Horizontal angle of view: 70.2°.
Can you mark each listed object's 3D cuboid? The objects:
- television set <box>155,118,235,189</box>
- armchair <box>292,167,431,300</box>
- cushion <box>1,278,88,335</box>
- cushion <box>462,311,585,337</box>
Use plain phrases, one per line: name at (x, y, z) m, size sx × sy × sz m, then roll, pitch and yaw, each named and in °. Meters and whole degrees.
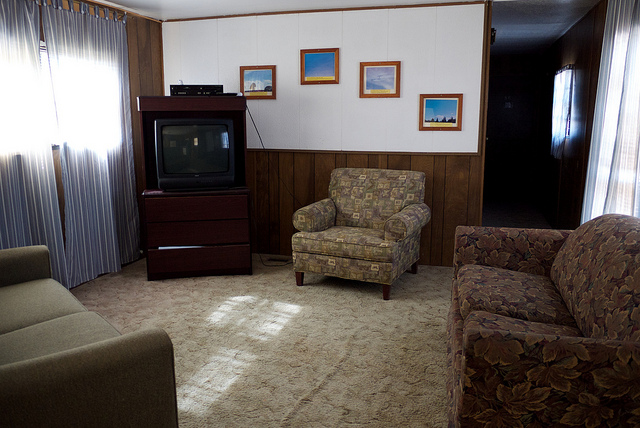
television set at (-1.319, -0.646, 4.837) m, size 0.793 × 0.714 × 0.169 m, roll -7°, pitch 13°, yaw -19°
armchair at (0.440, 0.132, 4.855) m, size 1.384 × 1.118 × 1.285 m, roll 3°, pitch 11°, yaw 16°
cushion at (-1.892, 0.606, 3.061) m, size 0.354 × 0.170 × 0.394 m, roll -9°, pitch 21°, yaw -31°
cushion at (1.185, 0.670, 2.754) m, size 0.324 × 0.098 × 0.337 m, roll 1°, pitch 0°, yaw -10°
